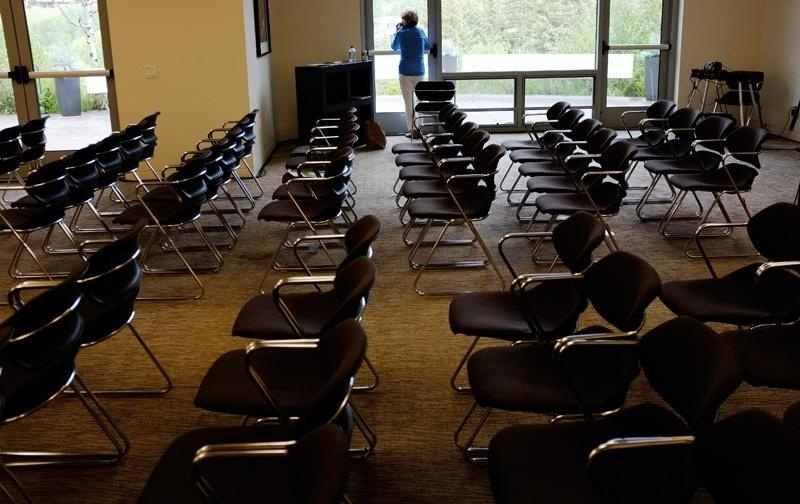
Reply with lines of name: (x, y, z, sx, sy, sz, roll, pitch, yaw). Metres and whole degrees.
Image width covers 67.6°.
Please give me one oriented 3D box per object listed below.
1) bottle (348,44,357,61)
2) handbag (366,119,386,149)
bottle: (-0.951, -3.953, 11.911, 0.170, 0.283, 0.281, -4, 19, -4)
handbag: (-0.476, -2.187, 11.322, 0.395, 0.501, 0.539, -2, 8, -3)
